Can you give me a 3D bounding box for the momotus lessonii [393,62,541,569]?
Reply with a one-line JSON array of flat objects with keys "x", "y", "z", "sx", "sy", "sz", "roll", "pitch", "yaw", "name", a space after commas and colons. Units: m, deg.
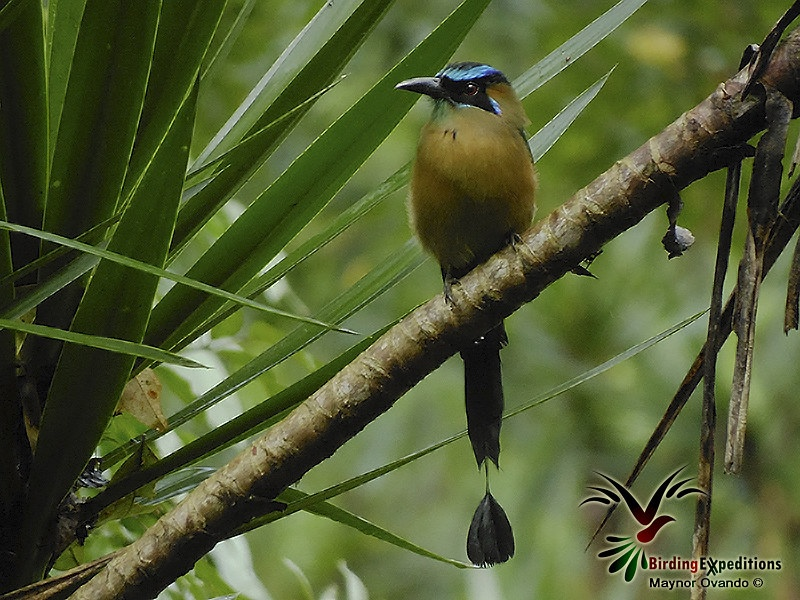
[{"x": 0.251, "y": -0.265, "z": 3.684, "sx": 0.440, "sy": 0.520, "sz": 1.759, "roll": -1, "pitch": -66, "yaw": 9, "name": "momotus lessonii"}]
